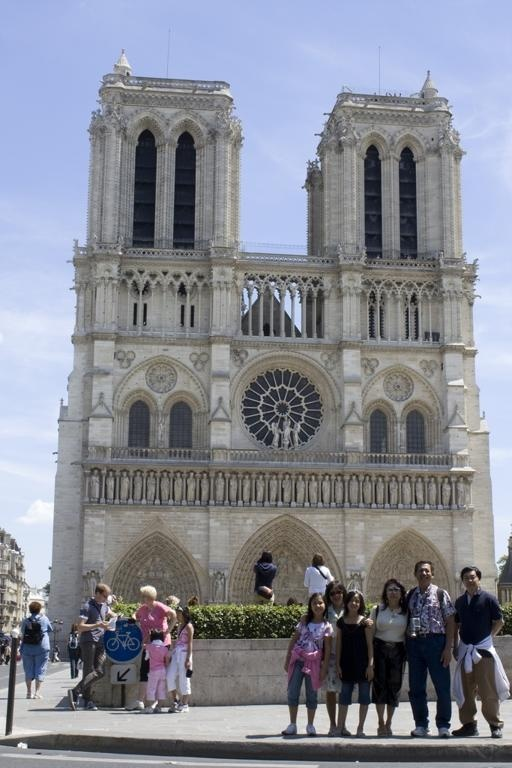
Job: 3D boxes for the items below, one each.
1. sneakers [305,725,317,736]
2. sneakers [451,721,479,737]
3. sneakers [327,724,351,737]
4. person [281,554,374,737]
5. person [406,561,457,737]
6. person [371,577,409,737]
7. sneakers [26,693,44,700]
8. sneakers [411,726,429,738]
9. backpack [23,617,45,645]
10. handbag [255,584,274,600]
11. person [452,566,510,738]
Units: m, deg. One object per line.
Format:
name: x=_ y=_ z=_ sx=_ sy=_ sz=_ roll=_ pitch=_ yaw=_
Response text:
sneakers: x=0.664 y=4.151 z=16.516 sx=0.071 sy=0.086 sz=0.203 roll=1 pitch=1 yaw=2
sneakers: x=2.439 y=4.087 z=16.255 sx=0.365 sy=0.233 sz=0.119 roll=4 pitch=-14 yaw=5
sneakers: x=0.984 y=4.188 z=16.564 sx=0.341 sy=0.142 sz=0.105 roll=4 pitch=3 yaw=36
person: x=0.725 y=3.362 z=17.012 sx=0.753 sy=1.826 sz=1.071 roll=-1 pitch=-9 yaw=10
person: x=2.105 y=3.189 z=16.653 sx=0.585 sy=2.056 sz=0.745 roll=0 pitch=-9 yaw=5
person: x=1.627 y=3.345 z=16.858 sx=0.432 sy=1.829 sz=0.488 roll=0 pitch=-9 yaw=5
sneakers: x=-3.658 y=5.165 z=22.742 sx=0.253 sy=0.100 sz=0.106 roll=0 pitch=-5 yaw=-2
sneakers: x=1.942 y=4.133 z=16.358 sx=0.205 sy=0.104 sz=0.216 roll=0 pitch=-8 yaw=7
backpack: x=-3.574 y=3.988 z=22.204 sx=0.405 sy=0.502 sz=0.296 roll=2 pitch=-24 yaw=-6
handbag: x=0.175 y=3.915 z=25.937 sx=0.285 sy=0.247 sz=0.322 roll=-23 pitch=33 yaw=-38
person: x=2.692 y=3.217 z=16.592 sx=0.635 sy=1.979 sz=0.808 roll=-1 pitch=-9 yaw=10
